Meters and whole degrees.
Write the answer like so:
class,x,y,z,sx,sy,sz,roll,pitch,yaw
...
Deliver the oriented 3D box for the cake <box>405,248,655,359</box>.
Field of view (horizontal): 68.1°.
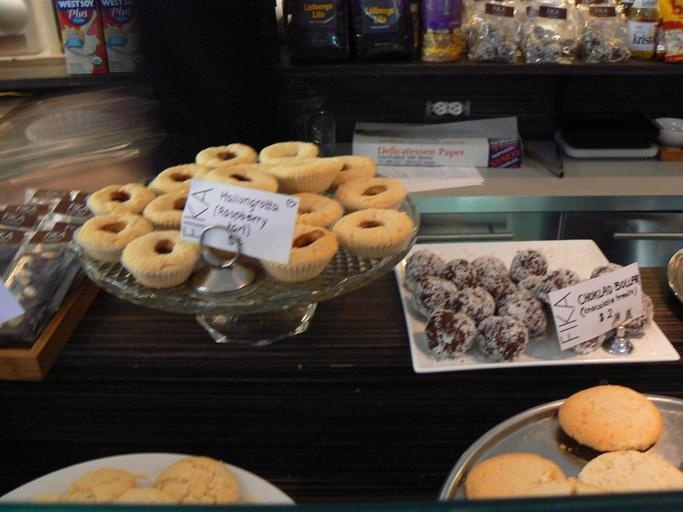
class,x,y,z,sx,sy,sz,roll,pitch,yaw
cake,0.287,0.078,0.839,0.252,0.062,0.227,-1,25,1
